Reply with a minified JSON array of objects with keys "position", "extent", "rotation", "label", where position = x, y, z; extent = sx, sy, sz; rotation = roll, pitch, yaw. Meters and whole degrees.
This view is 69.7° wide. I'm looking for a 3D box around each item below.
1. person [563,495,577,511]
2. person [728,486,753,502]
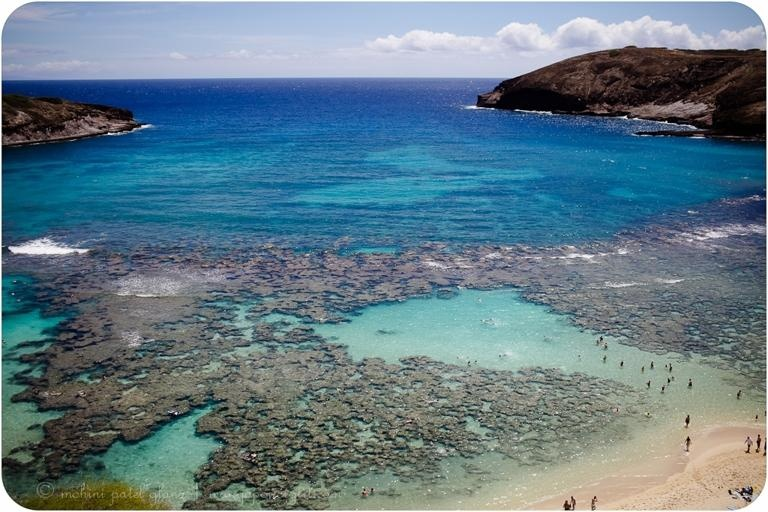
[{"position":[10.406,13.812,30.836],"extent":[0.791,0.235,0.709],"rotation":[7,26,2],"label":"person"},{"position":[19.952,13.205,30.753],"extent":[1.252,0.351,1.023],"rotation":[5,13,21],"label":"person"}]
